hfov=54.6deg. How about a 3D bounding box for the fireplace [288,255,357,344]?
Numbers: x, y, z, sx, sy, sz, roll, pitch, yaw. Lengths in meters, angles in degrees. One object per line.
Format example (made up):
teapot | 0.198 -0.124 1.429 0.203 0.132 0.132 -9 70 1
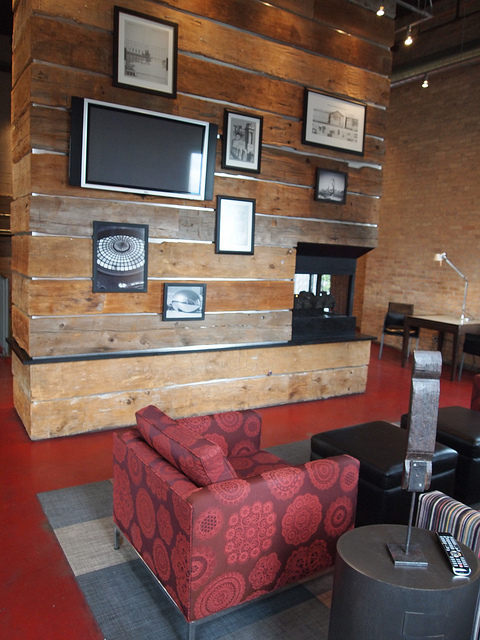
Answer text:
fireplace | 0.903 -0.236 4.925 0.996 0.886 0.290 -1 7 -34

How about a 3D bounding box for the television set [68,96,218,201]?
television set | -0.698 -1.247 3.462 1.102 0.604 0.090 -1 7 -33

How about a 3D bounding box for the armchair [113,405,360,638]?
armchair | -0.065 0.761 1.991 0.860 0.709 0.755 -2 8 -40

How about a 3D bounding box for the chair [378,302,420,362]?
chair | 2.432 0.155 7.107 0.521 0.851 0.534 7 3 22

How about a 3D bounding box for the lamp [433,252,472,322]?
lamp | 3.025 -0.497 6.582 0.535 0.949 1.023 5 7 23

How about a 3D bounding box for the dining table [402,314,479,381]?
dining table | 2.732 0.212 6.392 0.827 0.810 0.835 17 23 38
